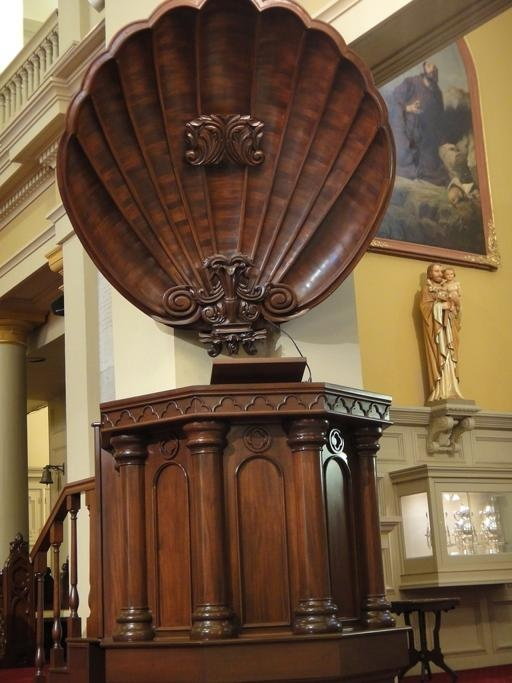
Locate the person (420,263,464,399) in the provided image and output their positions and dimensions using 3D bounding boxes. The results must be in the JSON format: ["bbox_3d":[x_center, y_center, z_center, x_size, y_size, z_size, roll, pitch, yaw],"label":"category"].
[{"bbox_3d":[1.818,-0.088,6.491,0.441,1.376,0.255,-9,-16,13],"label":"person"}]
